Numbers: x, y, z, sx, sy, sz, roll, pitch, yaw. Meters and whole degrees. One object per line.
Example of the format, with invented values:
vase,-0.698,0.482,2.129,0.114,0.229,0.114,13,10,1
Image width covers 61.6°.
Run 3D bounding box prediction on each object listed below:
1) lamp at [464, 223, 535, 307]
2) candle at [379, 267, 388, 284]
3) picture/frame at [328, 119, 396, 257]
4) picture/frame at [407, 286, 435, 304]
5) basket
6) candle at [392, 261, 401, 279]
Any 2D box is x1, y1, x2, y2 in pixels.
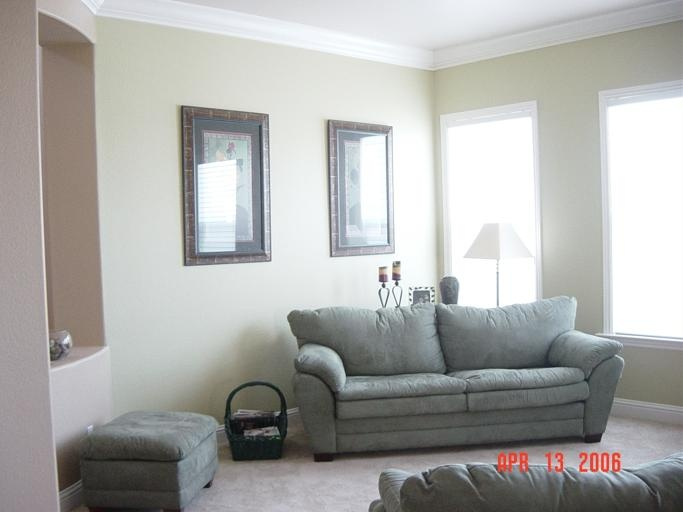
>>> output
lamp,1.396,0.085,5.342,0.541,0.808,0.622,-2,7,-5
candle,0.414,0.173,5.411,0.123,0.177,0.127,0,-3,7
picture/frame,0.195,-0.660,5.590,0.784,1.300,0.111,-6,9,-32
picture/frame,0.785,0.382,5.658,0.249,0.183,0.584,-1,7,5
basket,-0.598,1.334,4.702,0.490,0.666,0.581,1,-11,-5
candle,0.520,0.137,5.461,0.073,0.178,0.203,0,7,11
